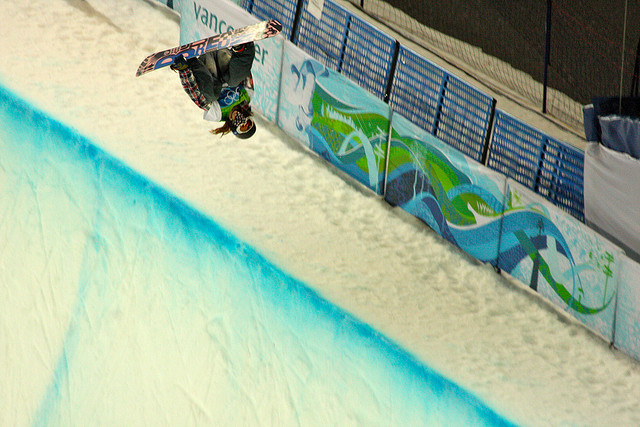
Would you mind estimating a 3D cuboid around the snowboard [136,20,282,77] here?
[{"bbox_3d":[-2.055,-3.186,18.633,2.799,0.480,0.624,-9,26,9],"label":"snowboard"}]
